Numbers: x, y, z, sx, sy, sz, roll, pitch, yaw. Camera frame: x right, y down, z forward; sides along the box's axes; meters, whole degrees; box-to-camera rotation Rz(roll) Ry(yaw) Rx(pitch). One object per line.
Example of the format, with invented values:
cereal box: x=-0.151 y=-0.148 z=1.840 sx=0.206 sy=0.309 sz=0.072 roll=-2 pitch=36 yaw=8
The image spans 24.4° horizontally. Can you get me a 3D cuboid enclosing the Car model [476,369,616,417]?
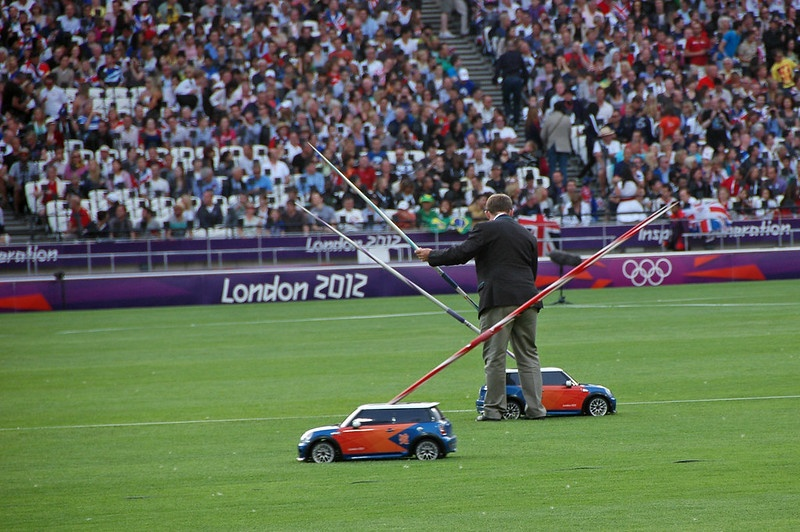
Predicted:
Car model: x=3.537 y=3.090 z=45.167 sx=3.173 sy=0.952 sz=1.305 roll=-1 pitch=-1 yaw=-3

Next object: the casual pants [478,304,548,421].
casual pants: x=2.695 y=2.397 z=44.588 sx=1.513 sy=2.740 sz=0.509 roll=-1 pitch=8 yaw=-1

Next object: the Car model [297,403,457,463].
Car model: x=-0.504 y=4.000 z=43.617 sx=3.514 sy=1.033 sz=1.506 roll=1 pitch=-4 yaw=4
